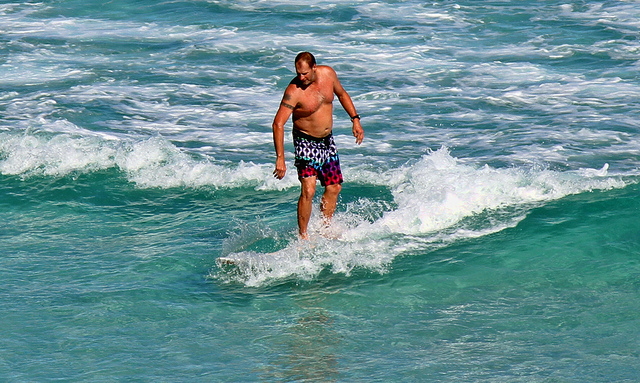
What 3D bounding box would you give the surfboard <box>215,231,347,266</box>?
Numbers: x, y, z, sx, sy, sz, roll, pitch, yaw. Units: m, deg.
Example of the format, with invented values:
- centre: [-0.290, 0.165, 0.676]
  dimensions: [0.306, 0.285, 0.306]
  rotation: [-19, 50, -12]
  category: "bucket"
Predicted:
- centre: [-0.758, 0.812, 17.099]
  dimensions: [2.251, 0.784, 0.243]
  rotation: [-8, 61, -14]
  category: "surfboard"
